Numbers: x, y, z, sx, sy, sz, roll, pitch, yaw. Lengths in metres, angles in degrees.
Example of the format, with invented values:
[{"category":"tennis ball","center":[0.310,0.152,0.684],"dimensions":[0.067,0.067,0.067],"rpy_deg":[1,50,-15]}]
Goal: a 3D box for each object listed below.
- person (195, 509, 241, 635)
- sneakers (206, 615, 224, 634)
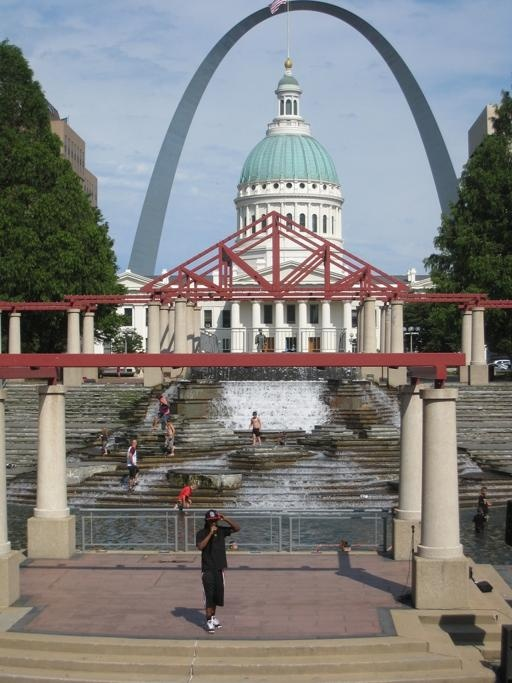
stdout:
[{"category":"person","center":[-0.558,3.339,19.656],"dimensions":[0.582,1.647,0.838],"rpy_deg":[-1,4,-2]},{"category":"sneakers","center":[-0.543,4.094,19.377],"dimensions":[0.343,0.232,0.117],"rpy_deg":[-10,-11,38]}]
